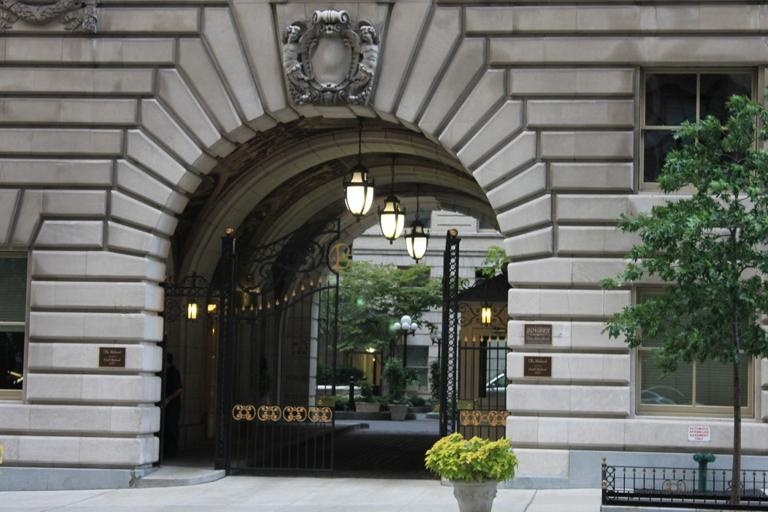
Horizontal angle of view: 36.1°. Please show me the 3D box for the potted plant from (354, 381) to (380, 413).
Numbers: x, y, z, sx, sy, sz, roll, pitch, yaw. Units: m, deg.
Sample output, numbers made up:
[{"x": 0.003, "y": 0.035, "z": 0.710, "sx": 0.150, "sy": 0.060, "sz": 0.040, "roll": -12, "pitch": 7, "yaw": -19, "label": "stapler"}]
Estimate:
[{"x": -0.805, "y": 6.484, "z": 52.693, "sx": 1.109, "sy": 1.304, "sz": 1.023, "roll": -1, "pitch": -4, "yaw": 3, "label": "potted plant"}]

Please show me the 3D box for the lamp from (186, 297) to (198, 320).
[{"x": -4.979, "y": 1.461, "z": 30.543, "sx": 0.298, "sy": 0.467, "sz": 1.084, "roll": 1, "pitch": -13, "yaw": -8, "label": "lamp"}]
